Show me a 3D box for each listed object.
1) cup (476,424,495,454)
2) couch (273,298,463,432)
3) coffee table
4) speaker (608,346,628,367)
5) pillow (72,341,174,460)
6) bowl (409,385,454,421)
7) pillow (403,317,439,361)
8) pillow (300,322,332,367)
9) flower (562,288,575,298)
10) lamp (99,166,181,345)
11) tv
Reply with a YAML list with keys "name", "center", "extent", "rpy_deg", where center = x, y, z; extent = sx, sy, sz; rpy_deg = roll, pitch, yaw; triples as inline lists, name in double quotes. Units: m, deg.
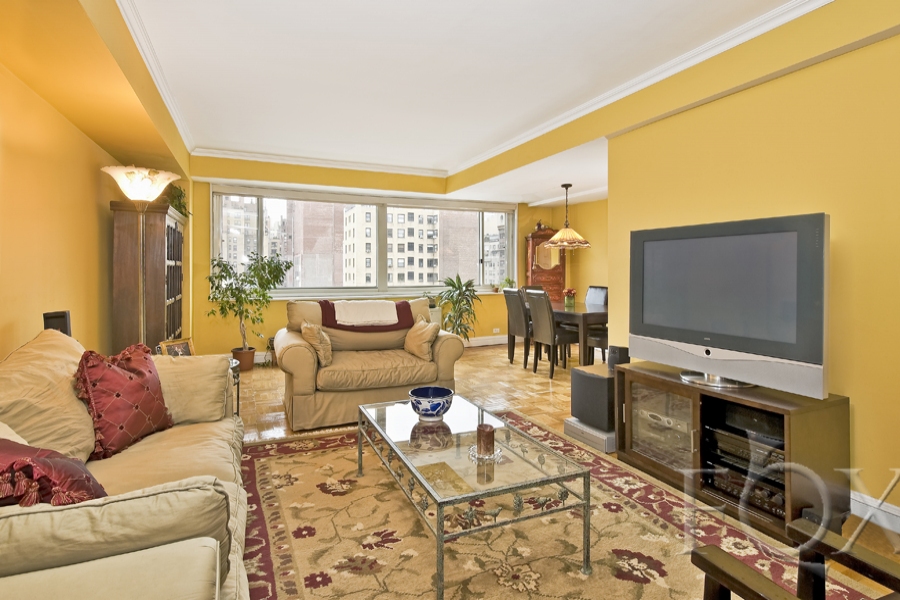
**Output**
- name: "cup"
  center: [0.207, 0.810, 3.396]
  extent: [0.149, 0.158, 0.144]
  rpy_deg: [0, -5, 0]
- name: "couch"
  center: [-0.898, 0.563, 5.452]
  extent: [1.944, 1.098, 1.078]
  rpy_deg: [0, -2, -19]
- name: "coffee table"
  center: [0.132, 1.117, 3.635]
  extent: [1.046, 0.803, 1.390]
  rpy_deg: [-1, 5, -25]
- name: "speaker"
  center: [1.434, 0.464, 4.987]
  extent: [0.160, 0.198, 0.286]
  rpy_deg: [0, -4, 16]
- name: "pillow"
  center: [-2.019, 0.584, 3.434]
  extent: [0.180, 0.548, 0.569]
  rpy_deg: [-18, 6, 23]
- name: "bowl"
  center: [-0.113, 0.656, 3.812]
  extent: [0.229, 0.123, 0.220]
  rpy_deg: [-2, 6, 0]
- name: "pillow"
  center: [-0.245, 0.366, 5.316]
  extent: [0.103, 0.315, 0.336]
  rpy_deg: [31, -13, -39]
- name: "pillow"
  center: [-1.123, 0.365, 4.994]
  extent: [0.104, 0.329, 0.343]
  rpy_deg: [-22, -14, 12]
- name: "flower"
  center: [1.492, -0.081, 7.182]
  extent: [0.149, 0.099, 0.143]
  rpy_deg: [4, -2, -24]
- name: "lamp"
  center: [-2.567, -0.402, 4.884]
  extent: [0.537, 1.499, 0.889]
  rpy_deg: [-2, 6, -30]
- name: "tv"
  center: [1.858, 0.072, 3.809]
  extent: [0.262, 1.160, 1.396]
  rpy_deg: [3, -3, -35]
